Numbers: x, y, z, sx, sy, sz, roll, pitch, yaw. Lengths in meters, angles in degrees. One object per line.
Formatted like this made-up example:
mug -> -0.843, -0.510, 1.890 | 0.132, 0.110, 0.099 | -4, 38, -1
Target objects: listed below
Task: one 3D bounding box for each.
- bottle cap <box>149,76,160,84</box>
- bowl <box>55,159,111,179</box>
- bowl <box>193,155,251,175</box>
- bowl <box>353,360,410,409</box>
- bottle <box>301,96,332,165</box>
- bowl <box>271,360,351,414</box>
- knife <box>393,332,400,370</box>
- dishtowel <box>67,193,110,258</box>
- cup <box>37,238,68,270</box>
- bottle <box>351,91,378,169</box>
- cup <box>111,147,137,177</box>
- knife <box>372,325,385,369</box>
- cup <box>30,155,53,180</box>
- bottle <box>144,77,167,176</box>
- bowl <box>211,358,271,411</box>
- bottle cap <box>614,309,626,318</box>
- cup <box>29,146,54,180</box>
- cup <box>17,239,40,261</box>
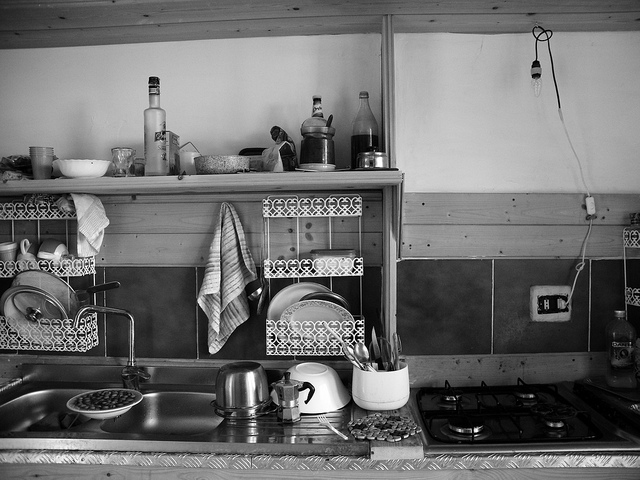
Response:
bottle cap -> -0.691, -0.667, 2.833 | 0.046, 0.034, 0.044 | 1, 11, -8
bowl -> -0.987, -0.294, 2.815 | 0.211, 0.077, 0.087 | -4, 8, -17
bowl -> -0.401, -0.311, 2.786 | 0.227, 0.072, 0.101 | -3, 7, -9
bowl -> 0.248, 0.589, 2.735 | 0.201, 0.196, 0.164 | -8, 9, -39
bottle -> -0.008, -0.456, 2.808 | 0.121, 0.279, 0.184 | -1, 7, 11
bowl -> -0.004, 0.597, 2.758 | 0.216, 0.077, 0.216 | -1, 5, 0
knife -> 0.311, 0.449, 2.742 | 0.018, 0.167, 0.017 | -2, -5, 19
dishtowel -> -1.008, -0.066, 2.964 | 0.159, 0.285, 0.108 | -7, 9, -35
cup -> -1.158, 0.062, 2.930 | 0.105, 0.134, 0.133 | -1, -15, 17
bottle -> 0.197, -0.457, 2.885 | 0.113, 0.349, 0.113 | 2, 7, 0
cup -> -0.819, -0.323, 2.846 | 0.115, 0.129, 0.121 | 0, -1, 0
knife -> 0.245, 0.462, 2.810 | 0.027, 0.251, 0.021 | -2, -2, -35
cup -> -1.165, -0.299, 2.845 | 0.092, 0.125, 0.105 | -4, 6, -31
bottle -> -0.693, -0.470, 2.835 | 0.099, 0.419, 0.097 | -1, -1, 0
bowl -> -0.329, 0.609, 2.812 | 0.230, 0.154, 0.232 | 1, -4, 0
bottle cap -> 1.270, 0.310, 2.865 | 0.043, 0.028, 0.044 | 1, -1, 4
cup -> -1.173, -0.326, 2.863 | 0.087, 0.136, 0.101 | -5, 8, -23
cup -> -1.278, 0.044, 2.970 | 0.091, 0.090, 0.099 | -2, 7, 0
